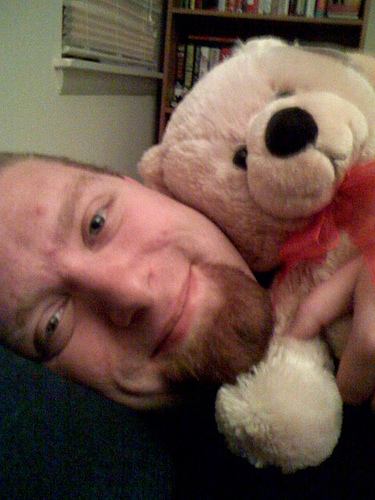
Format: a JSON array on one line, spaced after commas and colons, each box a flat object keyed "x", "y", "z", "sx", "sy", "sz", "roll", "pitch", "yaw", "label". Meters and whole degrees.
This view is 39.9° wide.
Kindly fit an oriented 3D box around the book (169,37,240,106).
[{"x": 0.036, "y": -0.993, "z": 2.748, "sx": 0.225, "sy": 0.202, "sz": 0.125, "roll": 25, "pitch": 8, "yaw": 18, "label": "book"}]

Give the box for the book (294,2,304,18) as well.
[{"x": 0.515, "y": -1.101, "z": 2.367, "sx": 0.065, "sy": 0.065, "sz": 0.024, "roll": 3, "pitch": 17, "yaw": 21, "label": "book"}]
